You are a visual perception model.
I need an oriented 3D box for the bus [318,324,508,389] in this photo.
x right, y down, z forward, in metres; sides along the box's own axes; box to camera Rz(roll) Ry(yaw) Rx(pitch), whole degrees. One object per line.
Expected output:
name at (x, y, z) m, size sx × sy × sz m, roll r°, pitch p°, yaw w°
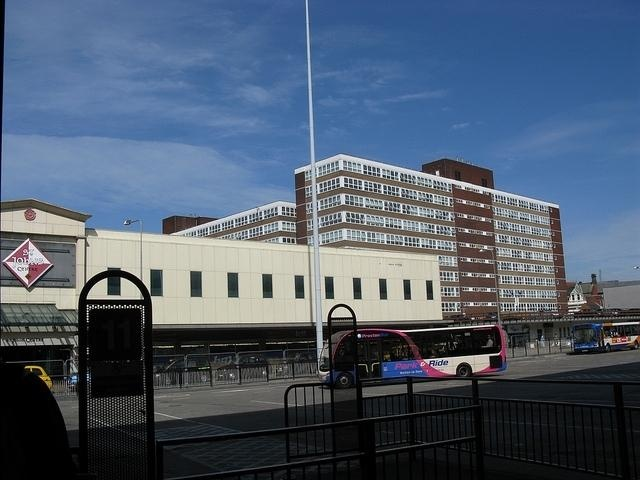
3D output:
bus at (4.828, 6.115, 36.341) m, size 11.035 × 2.605 × 2.413 m, roll 1°, pitch -8°, yaw -24°

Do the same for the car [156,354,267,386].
car at (-6.321, 7.706, 39.819) m, size 6.760 × 1.805 × 1.444 m, roll 7°, pitch -17°, yaw -39°
